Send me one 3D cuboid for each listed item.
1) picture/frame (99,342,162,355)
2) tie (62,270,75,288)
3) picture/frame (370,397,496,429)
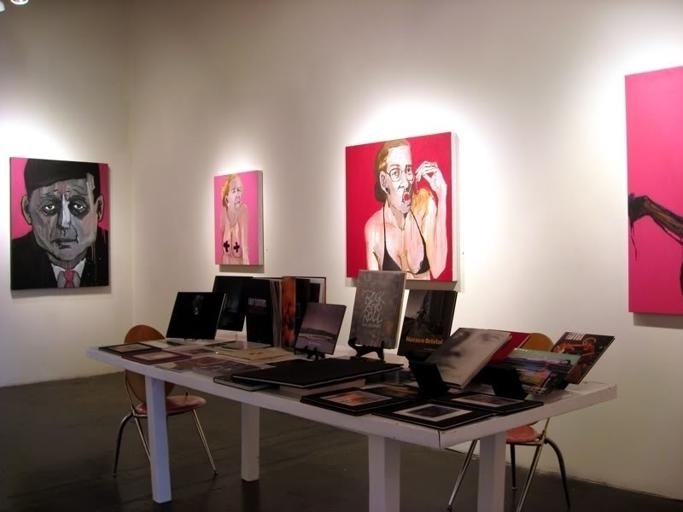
[{"bbox_3d":[-1.449,0.630,3.452,0.314,0.035,0.288,2,2,15],"label":"picture/frame"},{"bbox_3d":[-3.758,0.312,6.864,0.212,0.266,0.024,-3,5,-42],"label":"tie"},{"bbox_3d":[0.376,0.639,2.035,0.385,0.024,0.301,1,2,40],"label":"picture/frame"}]
